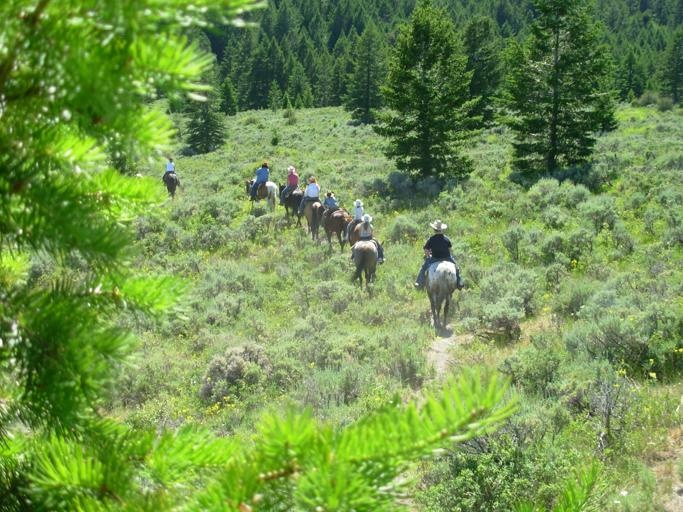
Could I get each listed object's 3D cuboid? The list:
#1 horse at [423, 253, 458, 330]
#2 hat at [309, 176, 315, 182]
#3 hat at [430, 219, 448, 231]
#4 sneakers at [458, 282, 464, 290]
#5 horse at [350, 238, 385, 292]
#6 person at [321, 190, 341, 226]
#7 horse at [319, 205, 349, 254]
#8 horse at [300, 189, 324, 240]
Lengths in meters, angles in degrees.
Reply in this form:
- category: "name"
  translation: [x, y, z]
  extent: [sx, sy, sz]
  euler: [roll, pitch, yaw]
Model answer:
- category: "horse"
  translation: [3.416, 1.324, 28.555]
  extent: [0.924, 2.431, 1.099]
  euler: [7, -11, -16]
- category: "hat"
  translation: [-1.238, -3.366, 36.341]
  extent: [0.187, 0.174, 0.364]
  euler: [3, 6, 0]
- category: "hat"
  translation: [3.371, -1.000, 29.050]
  extent: [0.427, 0.246, 0.588]
  euler: [2, 27, -1]
- category: "sneakers"
  translation: [4.098, 1.051, 28.746]
  extent: [0.203, 0.150, 0.306]
  euler: [-2, 10, -7]
- category: "horse"
  translation: [0.900, 0.348, 31.190]
  extent: [0.999, 1.884, 1.556]
  euler: [4, -12, 1]
- category: "person"
  translation: [-0.526, -2.126, 34.811]
  extent: [0.424, 1.151, 1.794]
  euler: [1, 27, -9]
- category: "horse"
  translation: [-0.226, -1.143, 34.247]
  extent: [1.144, 1.666, 2.327]
  euler: [6, -12, -3]
- category: "horse"
  translation: [-1.490, -1.867, 36.562]
  extent: [0.434, 1.595, 1.986]
  euler: [-2, 13, -22]
